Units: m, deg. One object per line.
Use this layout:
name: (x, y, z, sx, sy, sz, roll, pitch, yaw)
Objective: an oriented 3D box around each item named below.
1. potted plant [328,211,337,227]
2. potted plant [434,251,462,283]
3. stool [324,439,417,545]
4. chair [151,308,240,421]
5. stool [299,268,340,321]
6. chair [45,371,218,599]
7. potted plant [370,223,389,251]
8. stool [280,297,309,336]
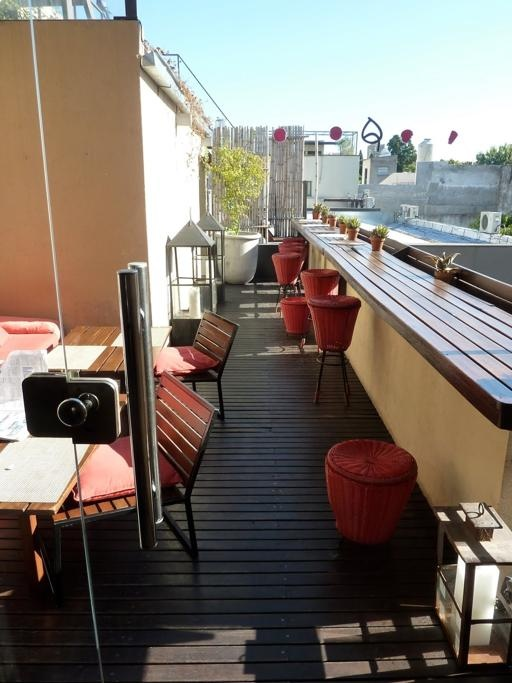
potted plant: (1.244, -2.007, 7.923, 0.244, 0.187, 0.244, 0, 6, 3)
potted plant: (1.391, -0.548, 3.486, 0.202, 0.217, 0.214, -9, 18, -17)
stool: (0.583, 0.828, 2.641, 0.507, 0.424, 0.505, 1, 16, 1)
chair: (-0.522, 0.067, 4.390, 0.824, 1.077, 1.102, 0, 15, -20)
stool: (0.697, -0.579, 5.758, 0.517, 0.544, 0.505, -1, 11, -3)
chair: (-0.622, 0.598, 2.626, 0.837, 1.027, 1.064, 2, 16, -19)
potted plant: (1.280, -1.089, 5.052, 0.147, 0.260, 0.271, 3, 15, 12)
stool: (0.499, -0.320, 6.251, 0.455, 0.494, 0.447, -4, 17, -5)
